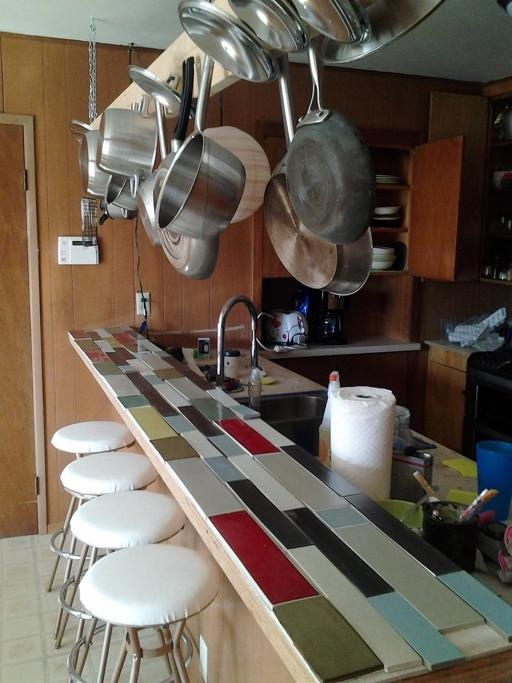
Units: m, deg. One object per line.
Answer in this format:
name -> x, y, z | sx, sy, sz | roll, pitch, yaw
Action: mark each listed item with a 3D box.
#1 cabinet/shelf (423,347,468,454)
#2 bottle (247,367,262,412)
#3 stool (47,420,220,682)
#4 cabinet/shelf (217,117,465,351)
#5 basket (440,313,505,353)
cabinet/shelf -> 1.244, 0.362, 3.509 | 0.176, 0.683, 0.516 | 4, 5, -9
bottle -> -0.006, 0.182, 1.966 | 0.042, 0.164, 0.072 | 4, 5, -3
stool -> -0.335, 0.593, 1.462 | 0.261, 0.554, 0.862 | -4, 15, -20
cabinet/shelf -> 0.651, -0.666, 3.632 | 1.137, 1.379, 0.841 | 1, 12, 5
basket -> 1.423, -0.042, 3.489 | 0.232, 0.114, 0.305 | -9, 16, -16
